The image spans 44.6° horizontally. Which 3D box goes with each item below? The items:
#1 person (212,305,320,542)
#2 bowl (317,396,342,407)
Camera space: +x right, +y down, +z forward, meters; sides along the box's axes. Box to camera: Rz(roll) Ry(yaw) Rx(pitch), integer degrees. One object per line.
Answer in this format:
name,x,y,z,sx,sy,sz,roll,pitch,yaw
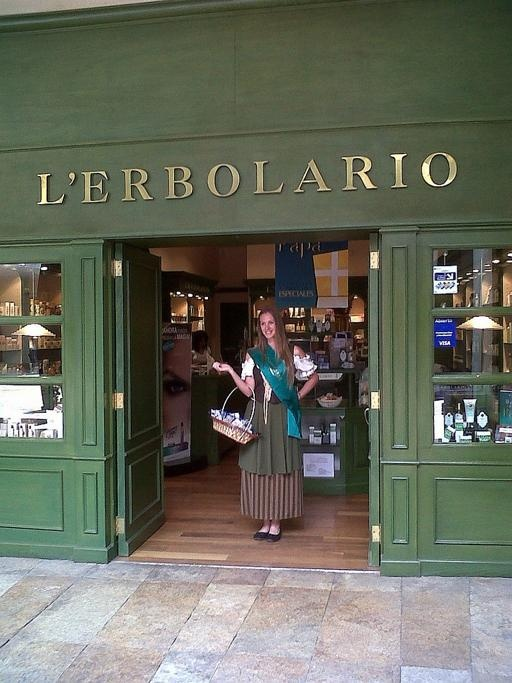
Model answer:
person,0.138,0.490,4.201,0.527,1.443,0.394,-1,1,4
bowl,0.698,0.545,5.673,0.259,0.080,0.223,-1,1,-15
